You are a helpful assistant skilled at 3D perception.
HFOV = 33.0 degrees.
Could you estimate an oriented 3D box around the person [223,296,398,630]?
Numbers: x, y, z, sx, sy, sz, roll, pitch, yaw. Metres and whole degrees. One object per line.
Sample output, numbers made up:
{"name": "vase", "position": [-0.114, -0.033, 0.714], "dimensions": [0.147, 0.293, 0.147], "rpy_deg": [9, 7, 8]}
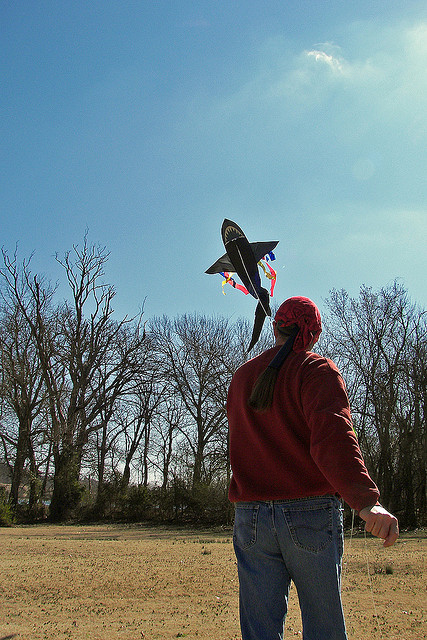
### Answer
{"name": "person", "position": [0.466, 0.704, 3.855], "dimensions": [1.046, 1.784, 0.420], "rpy_deg": [-12, -13, 40]}

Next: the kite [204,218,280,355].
{"name": "kite", "position": [0.316, -0.379, 6.243], "dimensions": [0.621, 1.193, 0.213], "rpy_deg": [-20, -29, -2]}
